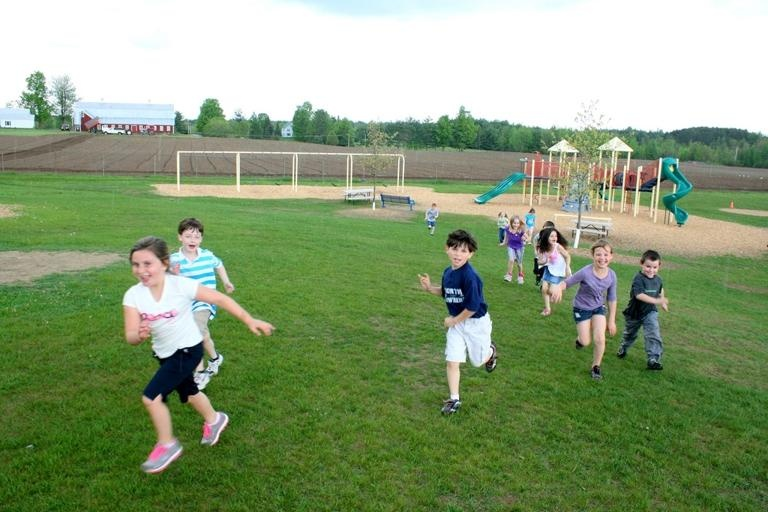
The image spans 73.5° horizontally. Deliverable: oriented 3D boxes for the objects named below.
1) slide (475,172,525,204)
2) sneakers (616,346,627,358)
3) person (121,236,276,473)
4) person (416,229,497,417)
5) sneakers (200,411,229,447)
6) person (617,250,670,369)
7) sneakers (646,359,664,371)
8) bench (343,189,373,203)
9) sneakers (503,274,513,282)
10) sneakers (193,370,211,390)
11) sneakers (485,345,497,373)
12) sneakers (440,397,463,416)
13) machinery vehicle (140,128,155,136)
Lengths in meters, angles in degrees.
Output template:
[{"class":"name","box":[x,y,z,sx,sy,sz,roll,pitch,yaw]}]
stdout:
[{"class":"slide","box":[10.045,-6.146,45.102,3.256,2.268,11.729,5,13,16]},{"class":"sneakers","box":[4.616,1.883,10.109,0.107,0.234,0.329,7,9,28]},{"class":"person","box":[-2.579,1.248,6.559,1.223,2.960,0.899,-5,14,-27]},{"class":"person","box":[1.205,0.952,8.028,1.041,2.784,1.047,4,13,13]},{"class":"sneakers","box":[-2.308,2.355,7.048,0.251,0.218,0.550,25,54,-6]},{"class":"person","box":[4.918,0.953,9.707,0.804,2.242,1.219,8,14,28]},{"class":"sneakers","box":[5.031,2.009,9.590,0.271,0.186,0.259,6,13,23]},{"class":"bench","box":[-1.828,-4.455,37.931,1.666,0.971,2.845,5,13,18]},{"class":"sneakers","box":[3.585,0.634,15.021,0.169,0.202,0.466,2,-5,15]},{"class":"sneakers","box":[-2.849,1.929,8.074,0.212,0.241,0.524,-4,-10,-6]},{"class":"sneakers","box":[1.809,1.739,8.670,0.195,0.592,0.269,4,35,14]},{"class":"sneakers","box":[1.025,2.315,7.924,0.149,0.151,0.383,1,1,23]},{"class":"machinery vehicle","box":[-50.565,-26.938,109.787,2.556,1.300,10.569,-4,13,-24]}]
